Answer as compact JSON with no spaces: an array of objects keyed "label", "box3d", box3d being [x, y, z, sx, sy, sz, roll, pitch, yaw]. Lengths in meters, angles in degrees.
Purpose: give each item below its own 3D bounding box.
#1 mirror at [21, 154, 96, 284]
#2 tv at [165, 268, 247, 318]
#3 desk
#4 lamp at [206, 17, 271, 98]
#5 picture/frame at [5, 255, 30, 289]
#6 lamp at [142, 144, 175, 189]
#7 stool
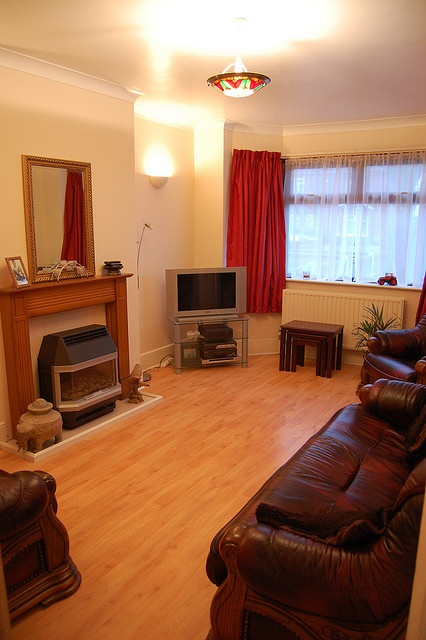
[{"label":"mirror","box3d":[-1.144,-0.800,3.403,0.040,0.851,0.582,8,13,38]},{"label":"tv","box3d":[-0.071,-0.290,4.939,0.888,0.650,0.517,-3,7,-23]},{"label":"desk","box3d":[-0.015,0.237,5.147,0.787,0.596,0.752,1,10,3]},{"label":"lamp","box3d":[0.127,-1.499,2.665,0.373,0.405,0.368,0,4,-14]},{"label":"picture/frame","box3d":[-1.339,-0.324,3.063,0.014,0.225,0.187,-11,17,14]},{"label":"lamp","box3d":[-0.540,-1.615,4.747,0.142,0.441,0.505,4,10,25]},{"label":"stool","box3d":[1.081,0.303,5.008,0.615,0.524,0.506,5,11,27]}]
